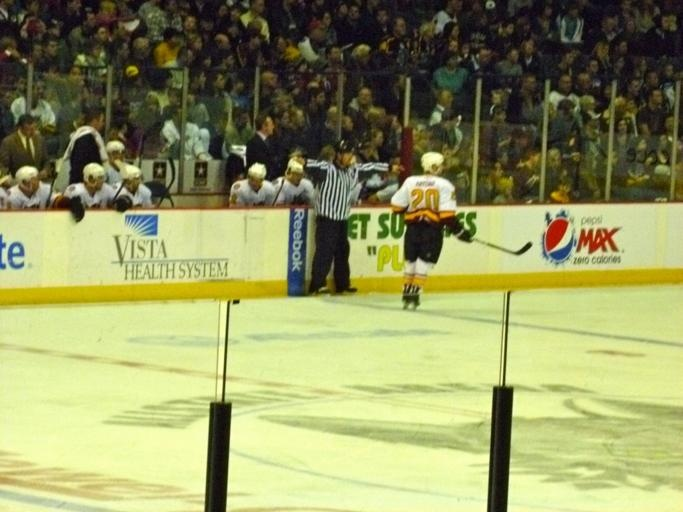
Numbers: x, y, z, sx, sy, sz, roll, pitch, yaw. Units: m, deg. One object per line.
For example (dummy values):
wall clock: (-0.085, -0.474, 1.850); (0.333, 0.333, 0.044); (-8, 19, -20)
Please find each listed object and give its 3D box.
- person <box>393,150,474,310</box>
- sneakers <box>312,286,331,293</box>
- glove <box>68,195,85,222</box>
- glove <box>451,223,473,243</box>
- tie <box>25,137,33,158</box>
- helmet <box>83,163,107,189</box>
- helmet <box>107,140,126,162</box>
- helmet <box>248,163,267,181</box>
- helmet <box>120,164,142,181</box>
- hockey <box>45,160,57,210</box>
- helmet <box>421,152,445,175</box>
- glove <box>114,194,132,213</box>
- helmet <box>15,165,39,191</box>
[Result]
person: (0.936, -0.406, 13.958); (0.762, 1.543, 1.804); (0, 1, 5)
sneakers: (-0.220, 0.356, 13.645); (0.183, 0.073, 0.066); (1, 2, 12)
glove: (-2.540, -0.446, 12.569); (0.100, 0.331, 0.130); (-24, -28, 16)
glove: (1.232, -0.228, 13.472); (0.242, 0.073, 0.172); (30, 34, -17)
tie: (-3.088, -1.093, 12.891); (0.041, 0.188, 0.049); (-10, 9, -4)
helmet: (-2.449, -0.799, 12.894); (0.214, 0.255, 0.240); (0, 1, -17)
helmet: (-2.294, -1.087, 13.189); (0.186, 0.197, 0.171); (0, 1, -13)
helmet: (-0.902, -0.909, 13.757); (0.178, 0.189, 0.250); (0, 1, -7)
helmet: (-2.106, -0.841, 13.058); (0.136, 0.134, 0.174); (10, 25, 4)
hockey: (-2.884, -0.724, 12.948); (0.084, 0.467, 0.444); (0, 1, -9)
helmet: (0.938, -0.976, 13.565); (0.207, 0.250, 0.263); (-3, 0, 9)
glove: (-2.168, -0.527, 12.910); (0.190, 0.167, 0.329); (0, 1, -10)
helmet: (-3.024, -0.756, 12.553); (0.196, 0.236, 0.242); (-8, 4, -24)
